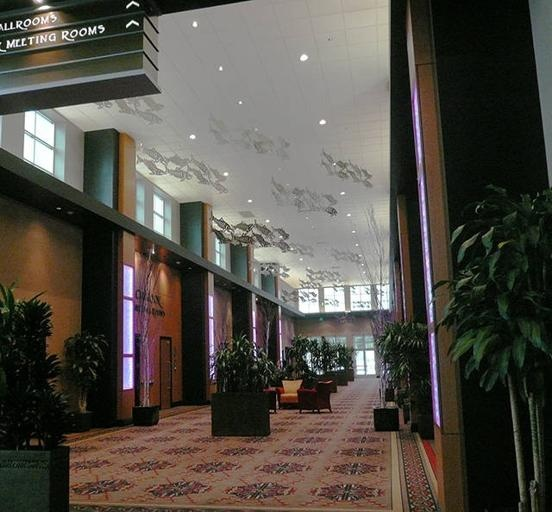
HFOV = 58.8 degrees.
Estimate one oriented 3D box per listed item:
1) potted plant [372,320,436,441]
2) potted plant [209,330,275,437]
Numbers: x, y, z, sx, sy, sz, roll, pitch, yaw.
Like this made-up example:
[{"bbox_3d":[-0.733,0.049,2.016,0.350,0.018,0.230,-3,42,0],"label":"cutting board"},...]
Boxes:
[{"bbox_3d":[2.164,2.007,8.216,0.850,1.841,1.574,-5,-12,16],"label":"potted plant"},{"bbox_3d":[-0.563,2.317,8.958,1.484,2.293,1.435,-1,-14,1],"label":"potted plant"}]
